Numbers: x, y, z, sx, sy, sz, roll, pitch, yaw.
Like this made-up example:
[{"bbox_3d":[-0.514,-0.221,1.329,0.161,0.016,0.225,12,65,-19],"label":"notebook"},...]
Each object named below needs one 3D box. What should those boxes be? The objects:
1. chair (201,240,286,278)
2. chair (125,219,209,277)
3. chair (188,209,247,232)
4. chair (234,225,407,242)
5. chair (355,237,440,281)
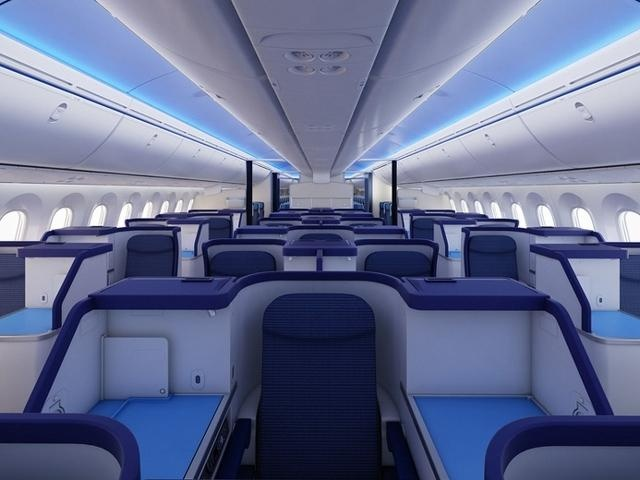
[{"bbox_3d":[-0.926,0.204,4.878,0.894,0.551,0.493,0,-5,0],"label":"chair"},{"bbox_3d":[-2.499,0.137,6.659,1.245,1.065,0.860,0,-3,5],"label":"chair"},{"bbox_3d":[-2.450,-0.457,9.883,0.837,0.485,0.446,0,2,4],"label":"chair"},{"bbox_3d":[0.007,-0.108,6.634,2.687,0.235,0.534,0,7,1],"label":"chair"},{"bbox_3d":[0.937,0.226,4.990,0.924,0.444,0.617,2,-7,-2],"label":"chair"}]
